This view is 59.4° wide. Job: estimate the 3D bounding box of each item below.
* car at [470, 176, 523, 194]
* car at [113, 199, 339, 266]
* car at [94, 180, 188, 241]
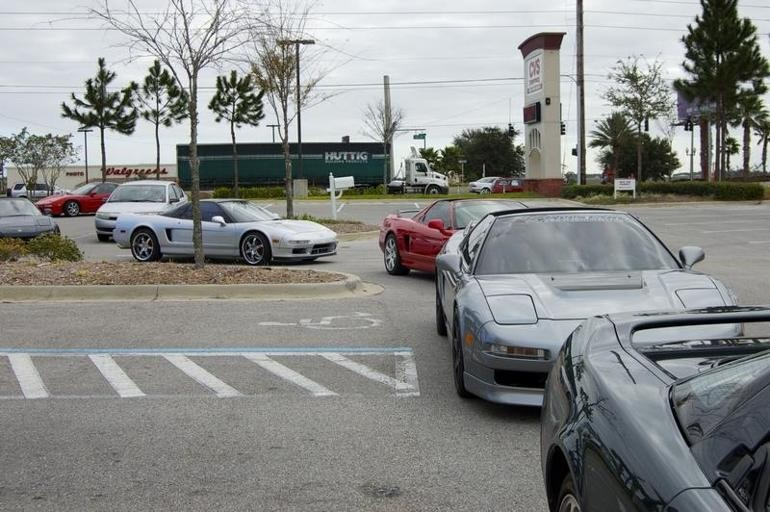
[{"bbox_3d":[9.041,-5.818,55.439,3.161,1.209,5.409,-4,10,-24],"label":"car"},{"bbox_3d":[-3.635,-0.552,15.211,4.698,1.415,1.494,3,10,15],"label":"car"},{"bbox_3d":[-7.773,-1.560,21.815,1.909,1.479,4.049,0,4,3],"label":"car"}]
